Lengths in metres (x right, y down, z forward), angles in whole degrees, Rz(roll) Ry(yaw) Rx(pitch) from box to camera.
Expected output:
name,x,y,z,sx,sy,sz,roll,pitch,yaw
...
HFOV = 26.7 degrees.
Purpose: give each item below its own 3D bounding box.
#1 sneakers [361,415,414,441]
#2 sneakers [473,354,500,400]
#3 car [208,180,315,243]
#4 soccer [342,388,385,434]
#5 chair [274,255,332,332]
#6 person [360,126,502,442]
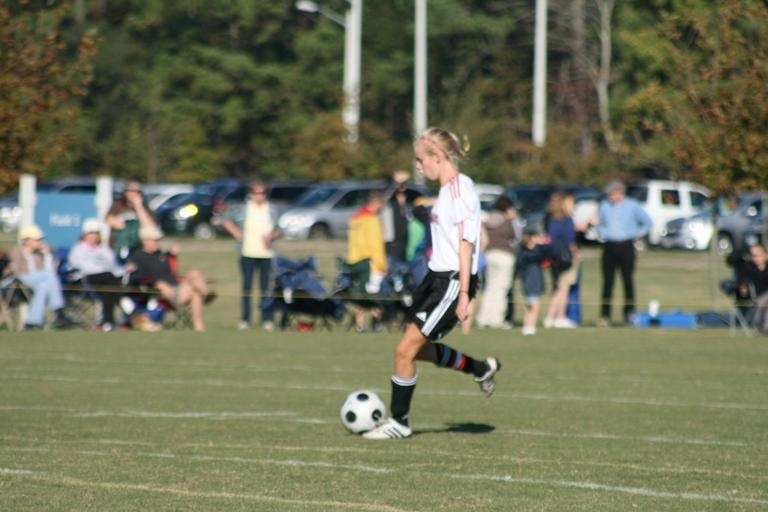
name,x,y,z,sx,sy,sz,roll,pitch,yaw
sneakers,0.046,1.865,17.324,0.561,0.229,0.186,3,-8,-4
sneakers,1.127,1.367,17.738,0.195,0.236,0.533,15,-35,18
car,-1.687,-0.622,21.877,2.107,0.897,0.856,0,0,-34
soccer,-0.216,1.671,17.437,0.440,0.455,0.775,1,-1,-2
chair,-1.080,0.525,21.578,0.728,1.033,0.336,0,15,-4
person,0.574,0.309,17.290,1.258,3.225,0.800,-11,19,-38
